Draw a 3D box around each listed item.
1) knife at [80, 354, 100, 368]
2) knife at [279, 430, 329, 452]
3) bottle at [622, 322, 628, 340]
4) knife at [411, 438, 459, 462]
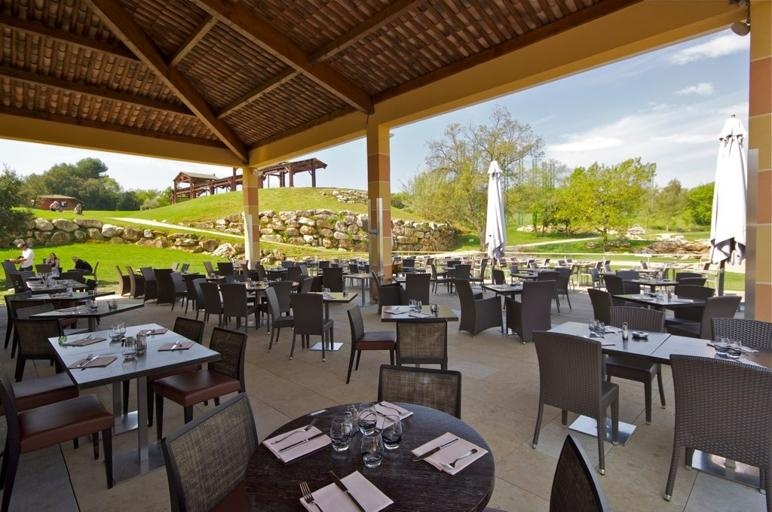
[{"bbox_3d":[-3.413,1.216,5.183,0.140,0.102,0.304,-3,2,-32],"label":"knife"},{"bbox_3d":[-0.744,1.679,4.071,0.379,0.019,0.040,-15,35,-27],"label":"knife"},{"bbox_3d":[2.995,0.923,5.635,0.066,0.187,0.241,-1,2,28],"label":"bottle"},{"bbox_3d":[0.433,1.692,4.021,0.552,0.036,0.146,-10,16,-35],"label":"knife"}]
